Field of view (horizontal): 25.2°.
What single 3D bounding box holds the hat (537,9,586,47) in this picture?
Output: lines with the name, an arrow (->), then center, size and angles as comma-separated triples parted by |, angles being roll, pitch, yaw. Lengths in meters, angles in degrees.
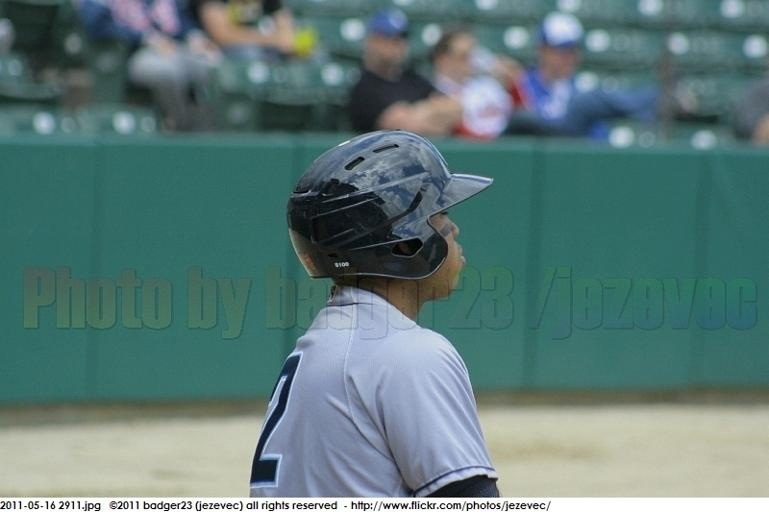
hat -> 1.265, -1.692, 12.303 | 0.300, 0.244, 0.221 | -3, 11, -28
